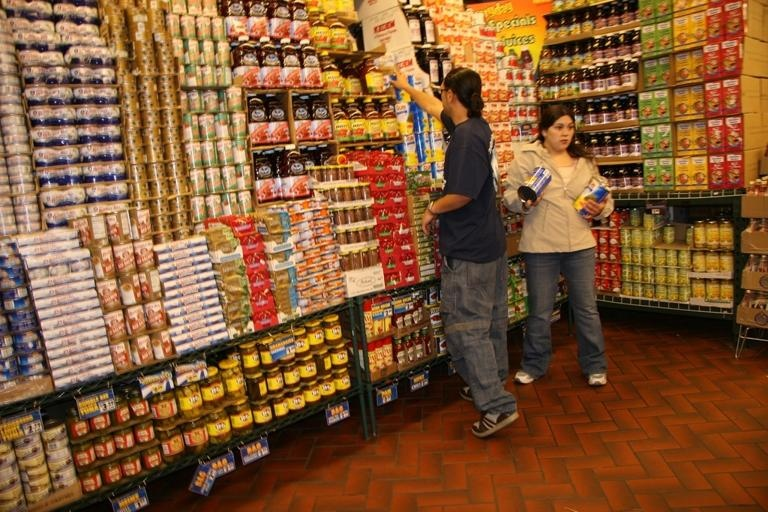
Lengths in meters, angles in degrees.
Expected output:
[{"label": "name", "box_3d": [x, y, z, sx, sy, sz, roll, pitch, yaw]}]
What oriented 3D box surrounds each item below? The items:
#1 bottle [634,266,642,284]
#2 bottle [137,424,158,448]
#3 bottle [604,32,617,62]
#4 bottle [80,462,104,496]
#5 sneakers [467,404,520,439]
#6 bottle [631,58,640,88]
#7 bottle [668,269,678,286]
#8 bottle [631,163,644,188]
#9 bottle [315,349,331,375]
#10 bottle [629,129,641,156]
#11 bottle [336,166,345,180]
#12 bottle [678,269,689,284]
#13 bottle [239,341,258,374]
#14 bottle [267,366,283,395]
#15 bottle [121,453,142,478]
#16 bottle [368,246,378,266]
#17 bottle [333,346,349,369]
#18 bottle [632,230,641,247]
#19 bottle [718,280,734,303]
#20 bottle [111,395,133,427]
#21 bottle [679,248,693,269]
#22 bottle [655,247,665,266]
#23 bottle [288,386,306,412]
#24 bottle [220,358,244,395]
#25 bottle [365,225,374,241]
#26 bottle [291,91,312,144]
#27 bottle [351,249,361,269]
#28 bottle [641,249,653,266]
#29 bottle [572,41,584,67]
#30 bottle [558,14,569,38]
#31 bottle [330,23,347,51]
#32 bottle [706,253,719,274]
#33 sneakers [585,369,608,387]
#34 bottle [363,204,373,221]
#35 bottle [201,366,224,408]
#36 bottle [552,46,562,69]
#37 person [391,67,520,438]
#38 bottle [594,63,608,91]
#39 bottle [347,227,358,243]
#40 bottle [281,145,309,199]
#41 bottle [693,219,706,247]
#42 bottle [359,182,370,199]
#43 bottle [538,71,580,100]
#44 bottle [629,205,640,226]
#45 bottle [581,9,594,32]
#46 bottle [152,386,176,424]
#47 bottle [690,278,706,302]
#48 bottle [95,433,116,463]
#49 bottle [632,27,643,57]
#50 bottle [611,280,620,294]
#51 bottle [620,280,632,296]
[{"label": "bottle", "box_3d": [2.818, 0.189, 5.804, 0.091, 0.167, 0.051, 2, 19, 31]}, {"label": "bottle", "box_3d": [-1.690, 1.243, 3.704, 0.144, 0.137, 0.151, -10, -3, 43]}, {"label": "bottle", "box_3d": [2.585, -2.352, 5.949, 0.130, 0.253, 0.151, -1, 17, 21]}, {"label": "bottle", "box_3d": [-1.972, 1.477, 3.530, 0.168, 0.146, 0.157, 1, -3, -38]}, {"label": "sneakers", "box_3d": [0.857, 1.352, 4.331, 0.468, 0.199, 0.172, -24, 12, 30]}, {"label": "bottle", "box_3d": [2.752, -1.972, 5.739, 0.112, 0.309, 0.108, -7, 16, 2]}, {"label": "bottle", "box_3d": [3.086, 0.213, 5.582, 0.096, 0.187, 0.045, 1, 19, 30]}, {"label": "bottle", "box_3d": [2.855, -0.891, 5.875, 0.121, 0.246, 0.143, -1, 17, 23]}, {"label": "bottle", "box_3d": [-0.506, 0.866, 4.380, 0.124, 0.213, 0.055, -11, 16, -13]}, {"label": "bottle", "box_3d": [2.817, -1.252, 5.856, 0.112, 0.262, 0.185, -1, 17, 23]}, {"label": "bottle", "box_3d": [-0.358, -0.684, 4.355, 0.034, 0.102, 0.079, 8, 21, 44]}, {"label": "bottle", "box_3d": [3.173, 0.213, 5.535, 0.100, 0.158, 0.046, 2, 19, 30]}, {"label": "bottle", "box_3d": [-1.044, 0.769, 4.090, 0.144, 0.232, 0.080, -12, 16, -15]}, {"label": "bottle", "box_3d": [-0.863, 0.964, 4.165, 0.154, 0.200, 0.073, -14, 17, -25]}, {"label": "bottle", "box_3d": [-1.739, 1.430, 3.664, 0.162, 0.142, 0.145, 0, 3, -19]}, {"label": "bottle", "box_3d": [-0.083, -0.008, 4.444, 0.122, 0.162, 0.031, -21, 20, -41]}, {"label": "bottle", "box_3d": [-0.370, 0.842, 4.434, 0.182, 0.165, 0.164, 0, 0, -25]}, {"label": "bottle", "box_3d": [2.795, -0.206, 5.767, 0.097, 0.204, 0.053, 2, 19, 30]}, {"label": "bottle", "box_3d": [3.503, 0.351, 5.341, 0.112, 0.211, 0.129, 1, 18, 29]}, {"label": "bottle", "box_3d": [-1.819, 1.060, 3.625, 0.059, 0.170, 0.128, 8, 21, 44]}, {"label": "bottle", "box_3d": [3.179, 0.025, 5.516, 0.126, 0.199, 0.065, 1, 18, 27]}, {"label": "bottle", "box_3d": [2.989, 0.009, 5.642, 0.100, 0.191, 0.055, 2, 18, 30]}, {"label": "bottle", "box_3d": [-0.704, 1.138, 4.243, 0.156, 0.188, 0.054, -16, 18, -30]}, {"label": "bottle", "box_3d": [-1.157, 0.914, 4.034, 0.159, 0.265, 0.144, -17, 18, -30]}, {"label": "bottle", "box_3d": [-0.110, -0.197, 4.425, 0.032, 0.132, 0.105, 8, 21, 45]}, {"label": "bottle", "box_3d": [-0.702, -1.166, 4.481, 0.111, 0.387, 0.164, -4, 16, 15]}, {"label": "bottle", "box_3d": [-0.222, 0.028, 4.359, 0.093, 0.143, 0.024, -20, 19, -37]}, {"label": "bottle", "box_3d": [2.891, 0.005, 5.720, 0.115, 0.185, 0.058, 1, 18, 27]}, {"label": "bottle", "box_3d": [2.328, -2.387, 6.234, 0.131, 0.269, 0.185, -2, 16, 19]}, {"label": "bottle", "box_3d": [2.161, -2.718, 6.252, 0.120, 0.223, 0.102, 5, 20, 38]}, {"label": "bottle", "box_3d": [-0.408, -1.997, 4.823, 0.222, 0.236, 0.117, -14, 17, -24]}, {"label": "bottle", "box_3d": [3.380, 0.059, 5.363, 0.114, 0.199, 0.073, 1, 18, 27]}, {"label": "sneakers", "box_3d": [1.974, 1.109, 4.848, 0.191, 0.086, 0.275, -1, 2, 15]}, {"label": "bottle", "box_3d": [-0.120, -0.366, 4.423, 0.040, 0.126, 0.123, 8, 21, 44]}, {"label": "bottle", "box_3d": [-1.275, 0.961, 3.934, 0.100, 0.271, 0.176, 2, 18, 31]}, {"label": "bottle", "box_3d": [2.108, -2.387, 6.376, 0.103, 0.233, 0.151, -3, 16, 18]}, {"label": "person", "box_3d": [0.693, 0.000, 4.229, 0.589, 2.901, 0.820, -5, 16, 12]}, {"label": "bottle", "box_3d": [2.481, -2.010, 5.965, 0.148, 0.269, 0.097, -2, 17, 19]}, {"label": "bottle", "box_3d": [-0.257, -0.164, 4.398, 0.111, 0.099, 0.102, 2, 6, 8]}, {"label": "bottle", "box_3d": [-0.755, -0.680, 4.375, 0.238, 0.393, 0.248, -7, 15, 2]}, {"label": "bottle", "box_3d": [3.274, -0.223, 5.409, 0.107, 0.260, 0.107, -7, 16, 2]}, {"label": "bottle", "box_3d": [-0.165, -0.541, 4.395, 0.142, 0.120, 0.127, -6, 11, -6]}, {"label": "bottle", "box_3d": [2.130, -2.034, 6.330, 0.228, 0.321, 0.527, -17, 18, -31]}, {"label": "bottle", "box_3d": [2.848, -0.441, 5.901, 0.116, 0.170, 0.286, 0, 15, 24]}, {"label": "bottle", "box_3d": [2.381, -2.708, 6.104, 0.121, 0.242, 0.133, -12, 16, -14]}, {"label": "bottle", "box_3d": [-1.569, 1.074, 3.838, 0.219, 0.188, 0.197, -4, 1, -20]}, {"label": "bottle", "box_3d": [3.298, 0.343, 5.465, 0.125, 0.213, 0.096, 1, 18, 28]}, {"label": "bottle", "box_3d": [-1.908, 1.285, 3.603, 0.177, 0.156, 0.163, 0, 1, -34]}, {"label": "bottle", "box_3d": [2.765, -2.309, 5.722, 0.089, 0.296, 0.238, 0, 16, 25]}, {"label": "bottle", "box_3d": [2.655, 0.350, 5.974, 0.143, 0.132, 0.135, -1, -3, 18]}, {"label": "bottle", "box_3d": [2.745, 0.359, 5.879, 0.150, 0.142, 0.152, -1, -1, 36]}]
